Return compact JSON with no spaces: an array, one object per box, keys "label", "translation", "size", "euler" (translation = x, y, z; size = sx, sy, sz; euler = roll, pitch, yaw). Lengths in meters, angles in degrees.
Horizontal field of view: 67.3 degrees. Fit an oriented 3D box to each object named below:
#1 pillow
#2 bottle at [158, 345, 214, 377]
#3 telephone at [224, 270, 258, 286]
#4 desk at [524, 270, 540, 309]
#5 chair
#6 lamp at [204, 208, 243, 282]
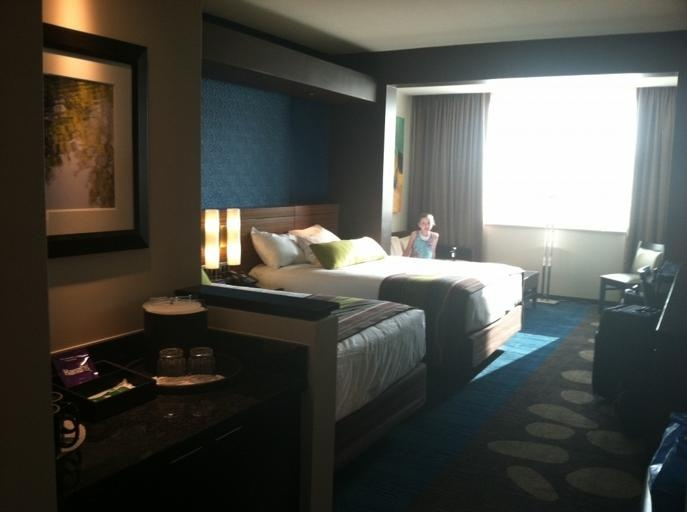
[{"label":"pillow","translation":[-0.253,-0.124,5.329],"size":[0.825,0.387,1.207],"euler":[6,10,34]},{"label":"bottle","translation":[-0.571,0.380,1.897],"size":[0.172,0.155,0.097],"euler":[1,1,-12]},{"label":"telephone","translation":[-0.894,0.175,4.575],"size":[0.230,0.078,0.136],"euler":[10,3,3]},{"label":"desk","translation":[2.303,0.417,6.388],"size":[0.241,0.408,0.436],"euler":[2,9,23]},{"label":"chair","translation":[3.449,0.246,6.137],"size":[0.514,0.824,0.439],"euler":[-5,14,-24]},{"label":"lamp","translation":[-1.060,-0.152,4.678],"size":[0.266,0.561,0.505],"euler":[2,9,12]}]
